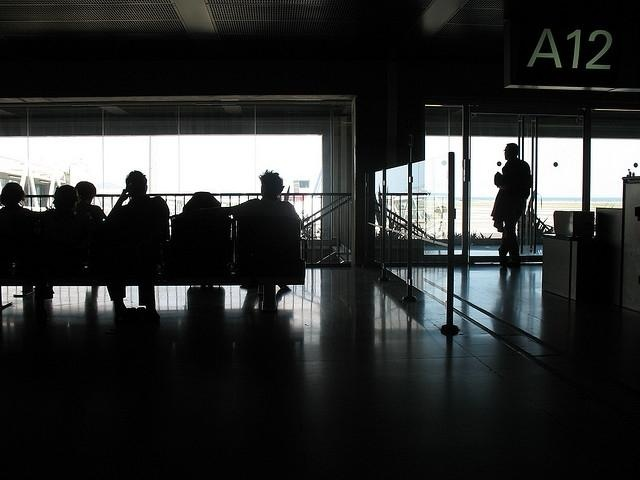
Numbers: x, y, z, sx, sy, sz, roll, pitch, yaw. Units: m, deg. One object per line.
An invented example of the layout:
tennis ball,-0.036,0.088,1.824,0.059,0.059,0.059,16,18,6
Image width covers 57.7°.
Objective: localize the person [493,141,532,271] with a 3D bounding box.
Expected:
person,3.127,-0.571,9.419,0.606,1.964,0.452,0,9,0
